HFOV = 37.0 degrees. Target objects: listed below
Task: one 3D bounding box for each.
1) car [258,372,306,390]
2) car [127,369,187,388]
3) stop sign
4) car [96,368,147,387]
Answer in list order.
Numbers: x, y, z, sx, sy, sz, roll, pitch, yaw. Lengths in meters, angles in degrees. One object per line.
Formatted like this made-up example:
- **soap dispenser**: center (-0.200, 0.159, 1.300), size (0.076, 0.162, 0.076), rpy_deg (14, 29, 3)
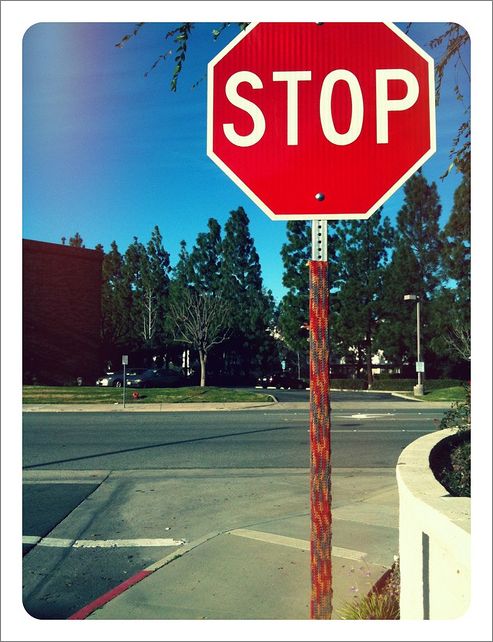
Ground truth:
- **car**: center (1.983, 3.429, 39.881), size (2.132, 0.952, 1.045), rpy_deg (-1, -2, 5)
- **car**: center (-4.062, 2.618, 33.129), size (0.953, 0.825, 2.191), rpy_deg (-6, -11, 45)
- **stop sign**: center (0.331, -0.888, 3.257), size (0.985, 1.239, 0.081), rpy_deg (-1, -4, -2)
- **car**: center (-5.787, 2.634, 33.418), size (1.742, 0.762, 0.875), rpy_deg (2, -5, -25)
